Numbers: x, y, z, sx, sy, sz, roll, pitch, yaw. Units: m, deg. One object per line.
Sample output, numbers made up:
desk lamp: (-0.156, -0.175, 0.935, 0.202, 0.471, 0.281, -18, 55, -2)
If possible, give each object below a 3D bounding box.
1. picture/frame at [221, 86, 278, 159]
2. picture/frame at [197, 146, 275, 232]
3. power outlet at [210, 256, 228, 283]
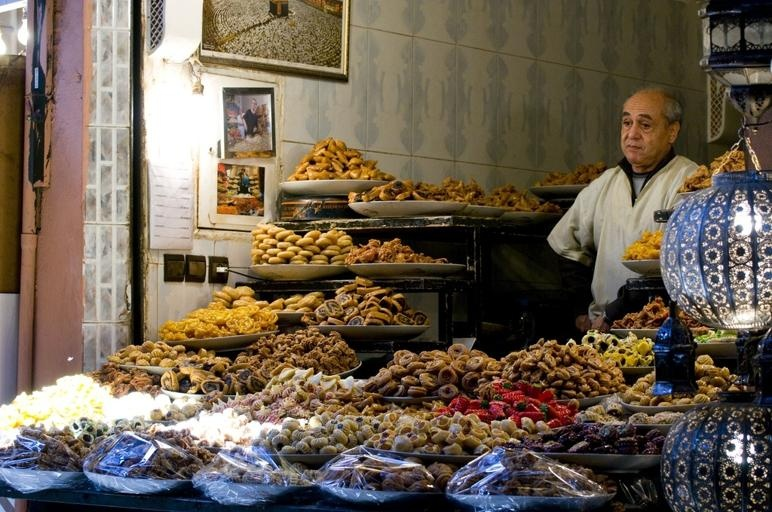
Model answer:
picture/frame: (-0.934, -0.887, 6.762, 0.524, 0.581, 0.040, 0, -6, -35)
picture/frame: (-1.024, -0.447, 6.719, 0.589, 0.544, 0.047, 1, 0, -28)
power outlet: (-1.105, 0.090, 6.647, 0.094, 0.172, 0.177, -1, -2, 40)
